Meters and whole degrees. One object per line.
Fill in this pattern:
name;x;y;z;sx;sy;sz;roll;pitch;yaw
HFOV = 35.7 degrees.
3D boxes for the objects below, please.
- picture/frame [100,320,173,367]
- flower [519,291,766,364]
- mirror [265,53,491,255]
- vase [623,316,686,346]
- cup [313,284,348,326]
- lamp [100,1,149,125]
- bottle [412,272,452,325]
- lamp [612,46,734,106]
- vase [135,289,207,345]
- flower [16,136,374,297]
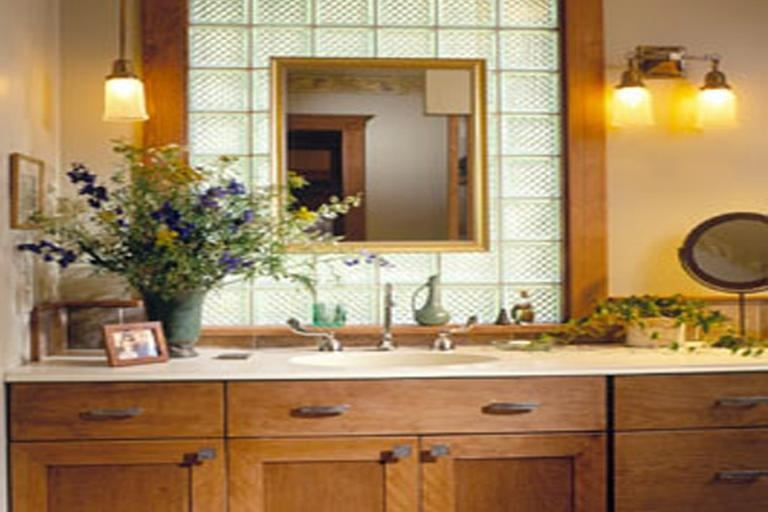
picture/frame;-0.888;0.313;4.300;0.182;0.112;0.023;-4;-19;-33
flower;1.035;0.250;4.601;0.884;0.209;0.365;0;1;12
mirror;-0.052;-0.395;4.702;0.969;0.753;0.069;0;1;1
vase;1.043;0.283;4.569;0.150;0.058;0.149;0;-2;-32
cup;-0.228;0.194;4.649;0.153;0.123;0.145;0;-4;0
lamp;-0.990;-0.753;4.574;0.172;0.474;0.153;0;1;-11
bottle;0.185;0.168;4.674;0.150;0.202;0.135;0;1;1
lamp;1.224;-0.714;4.706;0.600;0.239;0.195;0;2;0
vase;-0.769;0.217;4.328;0.239;0.167;0.217;0;-7;-9
flower;-0.753;-0.095;4.536;0.902;0.418;0.687;0;-11;19
